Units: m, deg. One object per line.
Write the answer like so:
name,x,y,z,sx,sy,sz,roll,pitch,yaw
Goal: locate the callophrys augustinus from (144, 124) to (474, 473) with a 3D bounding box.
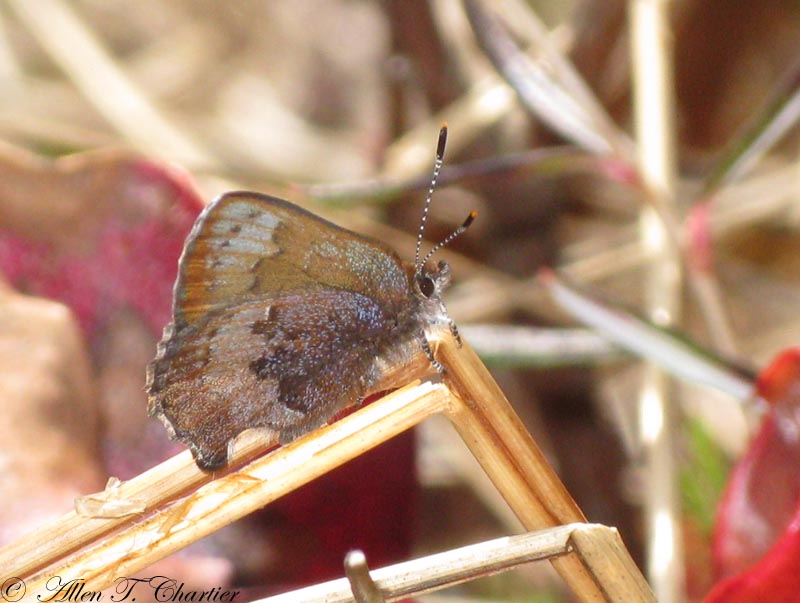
callophrys augustinus,-0.086,0.012,1.143,0.384,0.231,0.356,-19,-11,-13
